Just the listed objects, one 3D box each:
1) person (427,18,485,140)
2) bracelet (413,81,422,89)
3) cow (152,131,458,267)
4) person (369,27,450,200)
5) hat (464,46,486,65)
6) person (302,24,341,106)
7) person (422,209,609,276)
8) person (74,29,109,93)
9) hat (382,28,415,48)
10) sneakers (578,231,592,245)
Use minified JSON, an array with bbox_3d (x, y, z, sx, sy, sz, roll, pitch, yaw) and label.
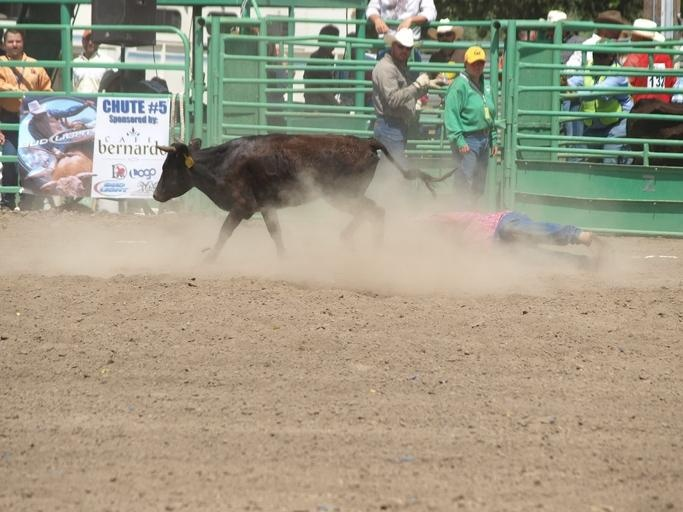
[{"bbox_3d":[1.470,-2.648,12.933,0.578,1.193,0.629,-1,-2,-11],"label":"person"},{"bbox_3d":[0.855,-1.926,10.600,0.069,0.016,0.065,-31,59,-35],"label":"bracelet"},{"bbox_3d":[-0.677,-0.620,9.678,2.230,1.222,0.411,-1,11,-2],"label":"cow"},{"bbox_3d":[0.770,-1.529,11.035,0.798,2.070,0.811,2,24,2],"label":"person"},{"bbox_3d":[1.539,-2.328,10.908,0.218,0.210,0.291,1,12,5],"label":"hat"},{"bbox_3d":[-0.187,-2.597,12.875,0.414,1.432,0.447,-2,52,15],"label":"person"},{"bbox_3d":[1.698,-0.206,9.232,1.276,0.392,0.775,6,-27,18],"label":"person"},{"bbox_3d":[-3.586,-2.816,13.529,0.517,0.855,1.359,-3,13,-14],"label":"person"},{"bbox_3d":[0.660,-2.486,10.678,0.314,0.153,0.362,10,-19,-15],"label":"hat"},{"bbox_3d":[2.291,-0.151,8.903,0.091,0.159,0.141,-15,-26,10],"label":"sneakers"}]
